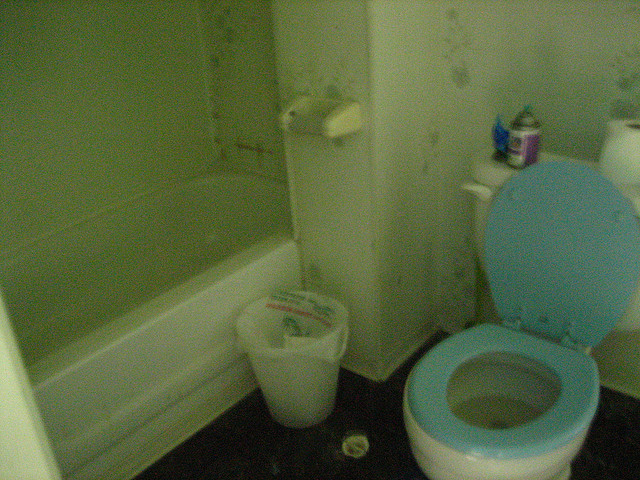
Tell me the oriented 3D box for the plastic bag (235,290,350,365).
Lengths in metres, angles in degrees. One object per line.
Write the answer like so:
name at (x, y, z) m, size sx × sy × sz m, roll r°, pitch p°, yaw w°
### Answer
plastic bag at (-0.073, 0.312, 1.868) m, size 0.196 × 0.175 × 0.151 m, roll -19°, pitch 21°, yaw -31°

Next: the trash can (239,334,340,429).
trash can at (-0.081, 0.468, 1.861) m, size 0.378 × 0.279 × 0.314 m, roll -2°, pitch 7°, yaw -15°

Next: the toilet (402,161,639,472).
toilet at (0.533, 0.218, 1.407) m, size 0.475 × 0.717 × 0.636 m, roll 15°, pitch 34°, yaw 27°

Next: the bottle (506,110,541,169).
bottle at (0.607, -0.304, 1.593) m, size 0.109 × 0.165 × 0.103 m, roll -1°, pitch 21°, yaw 0°
